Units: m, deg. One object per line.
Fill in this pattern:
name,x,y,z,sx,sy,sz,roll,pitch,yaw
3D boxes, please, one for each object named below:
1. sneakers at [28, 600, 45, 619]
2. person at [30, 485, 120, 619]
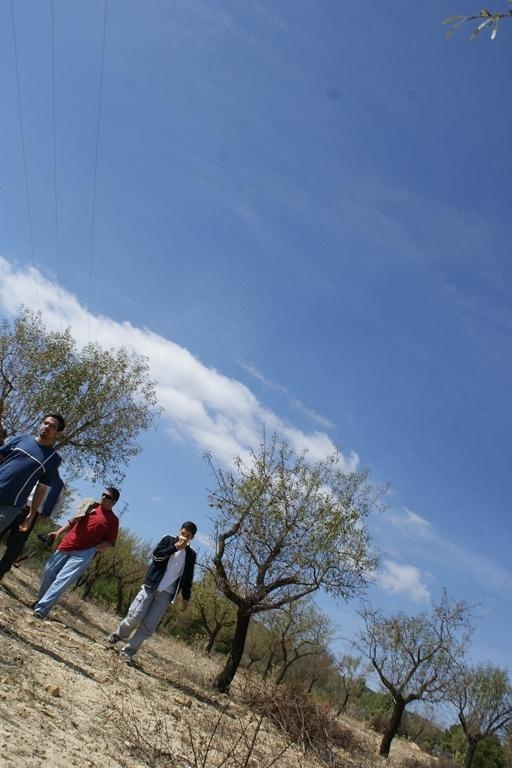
sneakers,-2.697,2.839,6.768,0.175,0.155,0.292,30,-20,-1
person,-2.413,2.232,7.283,0.645,1.952,0.590,34,0,0
